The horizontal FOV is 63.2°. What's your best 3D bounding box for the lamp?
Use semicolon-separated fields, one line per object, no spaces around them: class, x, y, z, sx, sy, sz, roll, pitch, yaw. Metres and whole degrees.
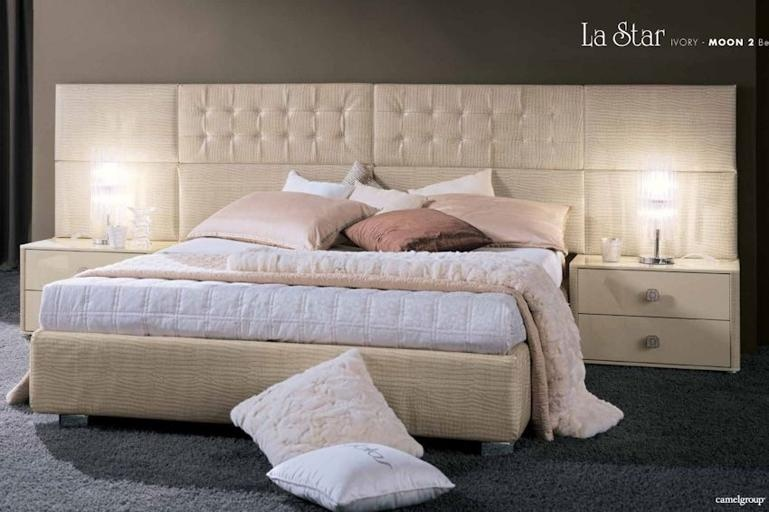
lamp;1.685;-0.265;3.887;0.234;0.578;0.430;5;14;21

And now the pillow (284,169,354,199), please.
pillow;-0.462;-0.462;4.205;0.504;0.178;0.088;10;-7;30

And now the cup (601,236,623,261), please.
cup;1.389;-0.033;3.852;0.153;0.142;0.138;0;-4;23

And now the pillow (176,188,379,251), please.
pillow;-0.627;-0.239;3.890;0.978;0.290;0.503;7;14;31

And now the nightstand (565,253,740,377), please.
nightstand;1.652;0.359;3.876;1.199;0.652;0.636;0;1;15
